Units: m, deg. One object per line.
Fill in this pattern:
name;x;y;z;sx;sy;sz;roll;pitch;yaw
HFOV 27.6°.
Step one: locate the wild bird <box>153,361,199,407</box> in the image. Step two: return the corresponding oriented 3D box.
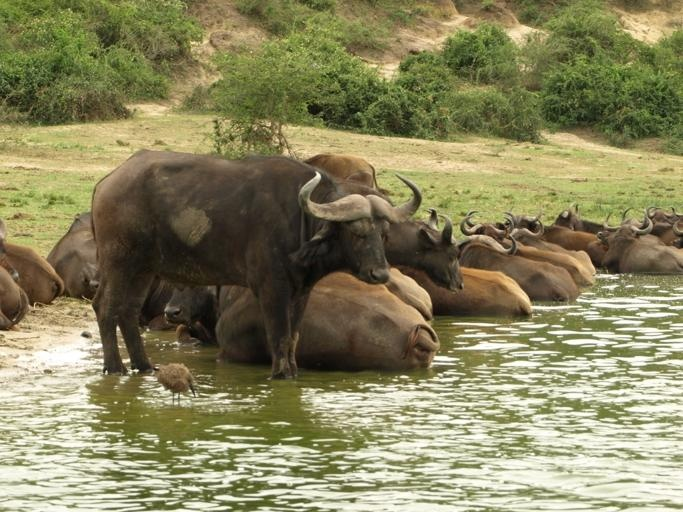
wild bird;-2.369;1.775;19.959;0.583;0.507;0.522;-2;7;-9
